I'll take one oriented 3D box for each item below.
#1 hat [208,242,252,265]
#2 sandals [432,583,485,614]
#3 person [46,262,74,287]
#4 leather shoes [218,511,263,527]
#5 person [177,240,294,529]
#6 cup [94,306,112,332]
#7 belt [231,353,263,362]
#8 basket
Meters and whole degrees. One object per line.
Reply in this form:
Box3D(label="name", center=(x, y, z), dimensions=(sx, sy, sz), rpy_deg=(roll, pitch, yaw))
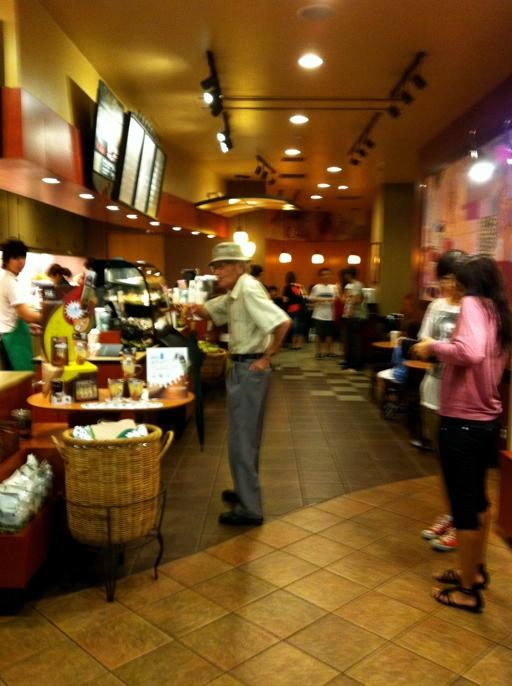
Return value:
Box3D(label="hat", center=(-0.144, -0.532, 3.006), dimensions=(0.164, 0.069, 0.161), rpy_deg=(-2, 3, 9))
Box3D(label="sandals", center=(0.854, 1.050, 2.157), dimensions=(0.183, 0.054, 0.100), rpy_deg=(3, 17, 35))
Box3D(label="person", center=(-2.461, -0.840, 6.424), dimensions=(0.262, 0.266, 1.038), rpy_deg=(0, 3, -22))
Box3D(label="leather shoes", center=(-0.082, 1.021, 3.026), dimensions=(0.263, 0.090, 0.090), rpy_deg=(1, -1, 3))
Box3D(label="person", center=(-0.071, 0.237, 3.058), dimensions=(0.471, 1.624, 0.572), rpy_deg=(1, 3, -6))
Box3D(label="cup", center=(-1.217, -0.179, 4.124), dimensions=(0.185, 0.228, 0.181), rpy_deg=(0, 7, 0))
Box3D(label="belt", center=(-0.056, 0.086, 2.947), dimensions=(0.198, 0.056, 0.075), rpy_deg=(3, 3, 33))
Box3D(label="basket", center=(-0.600, 0.646, 2.200), dimensions=(0.486, 0.552, 0.358), rpy_deg=(0, 3, -21))
